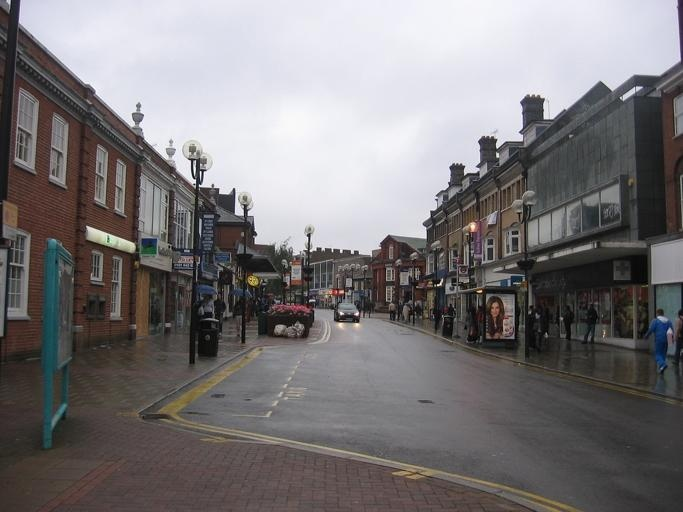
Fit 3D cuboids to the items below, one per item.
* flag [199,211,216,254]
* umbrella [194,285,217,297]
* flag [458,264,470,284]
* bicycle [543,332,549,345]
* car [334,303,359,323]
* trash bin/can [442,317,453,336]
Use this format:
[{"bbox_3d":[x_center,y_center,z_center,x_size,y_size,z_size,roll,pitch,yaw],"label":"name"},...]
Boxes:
[{"bbox_3d":[-8.083,-1.470,38.010,1.066,2.469,1.526,2,6,-5],"label":"flag"},{"bbox_3d":[-7.484,1.876,33.995,0.932,0.376,1.020,-1,-13,25],"label":"umbrella"},{"bbox_3d":[6.940,1.019,35.224,0.876,1.468,0.131,1,-6,-13],"label":"flag"},{"bbox_3d":[10.508,4.195,31.913,0.204,0.631,5.004,-3,-10,17],"label":"bicycle"},{"bbox_3d":[0.394,4.859,53.262,1.042,1.070,2.428,0,-14,-5],"label":"car"},{"bbox_3d":[6.002,3.928,35.251,0.421,1.111,0.923,4,-9,-31],"label":"trash bin/can"}]
